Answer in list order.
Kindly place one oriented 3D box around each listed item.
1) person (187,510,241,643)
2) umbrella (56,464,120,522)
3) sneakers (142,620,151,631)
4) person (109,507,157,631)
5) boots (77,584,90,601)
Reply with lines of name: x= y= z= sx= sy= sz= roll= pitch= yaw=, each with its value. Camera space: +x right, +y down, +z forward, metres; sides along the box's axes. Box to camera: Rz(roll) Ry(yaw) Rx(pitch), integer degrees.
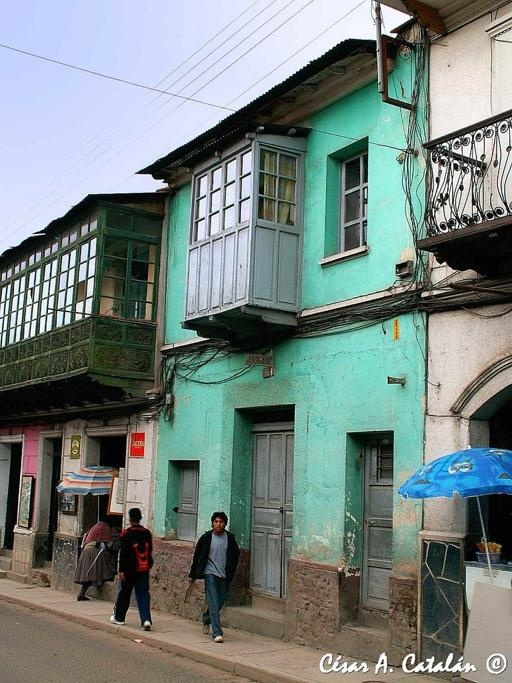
person: x=-0.567 y=3.023 z=8.745 sx=0.566 sy=1.556 sz=0.480 roll=-4 pitch=-12 yaw=25
umbrella: x=-3.392 y=2.983 z=13.604 sx=1.055 sy=0.660 sz=1.046 roll=1 pitch=-4 yaw=-24
sneakers: x=-1.467 y=3.833 z=9.114 sx=0.069 sy=0.080 sz=0.187 roll=2 pitch=-9 yaw=-5
person: x=-1.664 y=3.096 z=9.289 sx=0.567 sy=1.574 sz=0.881 roll=7 pitch=-13 yaw=-37
boots: x=-3.325 y=4.798 z=13.055 sx=0.213 sy=0.361 sz=0.738 roll=3 pitch=-11 yaw=-13
